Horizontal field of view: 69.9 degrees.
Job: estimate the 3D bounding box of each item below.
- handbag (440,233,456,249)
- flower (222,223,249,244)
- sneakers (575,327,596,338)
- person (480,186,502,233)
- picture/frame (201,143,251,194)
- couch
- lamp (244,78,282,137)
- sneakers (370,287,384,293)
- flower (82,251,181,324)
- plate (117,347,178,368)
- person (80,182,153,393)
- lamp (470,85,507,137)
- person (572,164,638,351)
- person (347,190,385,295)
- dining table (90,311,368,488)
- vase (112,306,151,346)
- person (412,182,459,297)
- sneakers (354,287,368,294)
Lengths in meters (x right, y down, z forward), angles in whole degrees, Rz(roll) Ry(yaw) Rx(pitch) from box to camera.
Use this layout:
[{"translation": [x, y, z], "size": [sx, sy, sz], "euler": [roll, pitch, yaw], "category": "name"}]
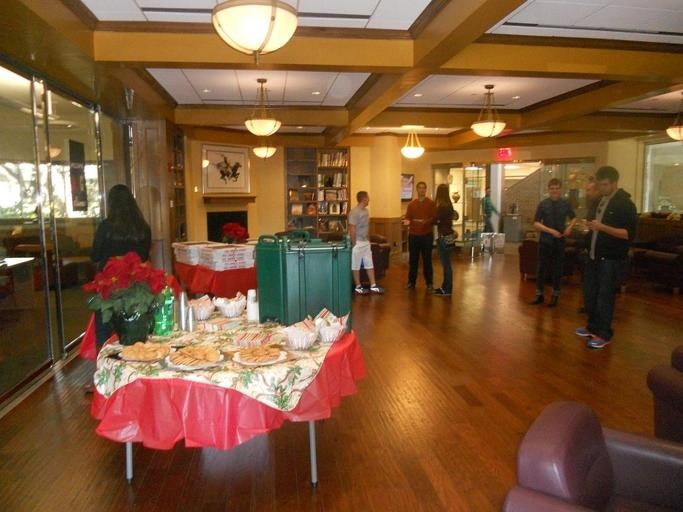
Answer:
[{"translation": [1.745, -0.239, 8.035], "size": [0.207, 0.170, 0.218], "euler": [-5, 6, -1], "category": "handbag"}, {"translation": [-1.566, -0.334, 7.222], "size": [0.313, 0.319, 0.317], "euler": [8, 12, 39], "category": "flower"}, {"translation": [2.982, 0.941, 6.008], "size": [0.070, 0.086, 0.194], "euler": [-5, 13, -20], "category": "sneakers"}, {"translation": [4.416, -1.249, 14.779], "size": [0.649, 1.528, 0.436], "euler": [1, 24, 23], "category": "person"}, {"translation": [-2.689, -2.014, 11.479], "size": [0.271, 1.147, 1.441], "euler": [5, 11, 27], "category": "picture/frame"}, {"translation": [0.443, -0.052, 9.986], "size": [1.096, 1.119, 1.152], "euler": [-1, 5, -9], "category": "couch"}, {"translation": [-1.296, -2.424, 7.935], "size": [0.584, 0.871, 0.574], "euler": [6, 12, 30], "category": "lamp"}, {"translation": [0.647, 0.614, 8.794], "size": [0.215, 0.097, 0.104], "euler": [-1, 2, 8], "category": "sneakers"}, {"translation": [-1.345, 0.199, 3.130], "size": [0.451, 0.354, 0.476], "euler": [12, 22, 36], "category": "flower"}, {"translation": [-1.101, 0.599, 2.877], "size": [0.170, 0.026, 0.173], "euler": [9, 5, 11], "category": "plate"}, {"translation": [-2.178, 0.303, 4.881], "size": [0.572, 2.019, 0.479], "euler": [6, 23, -13], "category": "person"}, {"translation": [2.598, -2.539, 8.636], "size": [0.571, 0.838, 0.569], "euler": [2, 1, 18], "category": "lamp"}, {"translation": [3.030, 0.022, 5.578], "size": [0.496, 2.045, 0.566], "euler": [4, 11, 25], "category": "person"}, {"translation": [0.438, -0.246, 8.749], "size": [0.550, 1.796, 1.062], "euler": [0, 10, 4], "category": "person"}, {"translation": [-0.819, 1.006, 3.465], "size": [1.782, 0.782, 1.840], "euler": [-1, 2, 10], "category": "dining table"}, {"translation": [-1.311, 0.444, 3.205], "size": [0.230, 0.260, 0.226], "euler": [-6, 21, -5], "category": "vase"}, {"translation": [1.766, -0.251, 8.370], "size": [0.384, 1.908, 0.894], "euler": [1, 10, 12], "category": "person"}, {"translation": [0.354, 0.626, 8.775], "size": [0.242, 0.118, 0.098], "euler": [0, 6, -1], "category": "sneakers"}]
